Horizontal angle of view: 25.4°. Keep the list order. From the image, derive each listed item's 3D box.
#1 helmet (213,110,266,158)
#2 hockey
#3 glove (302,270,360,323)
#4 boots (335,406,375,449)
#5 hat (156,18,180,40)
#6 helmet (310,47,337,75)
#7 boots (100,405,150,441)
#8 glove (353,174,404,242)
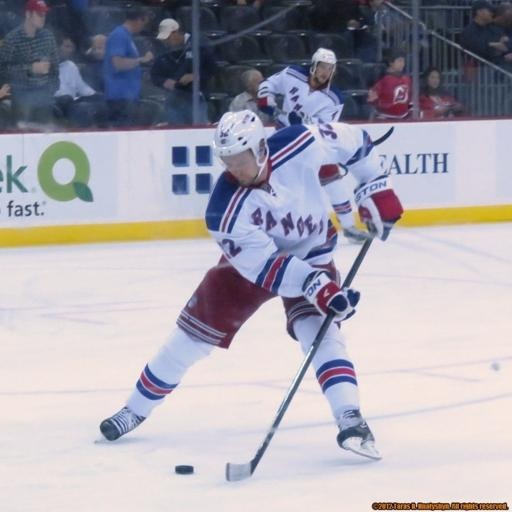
[{"bbox_3d":[-0.060,-0.441,4.139,0.176,0.158,0.141,2,6,-2],"label":"helmet"},{"bbox_3d":[0.158,0.417,4.443,0.127,1.048,0.116,30,8,-37],"label":"hockey"},{"bbox_3d":[0.269,0.137,4.186,0.168,0.216,0.099,-44,5,-6],"label":"glove"},{"bbox_3d":[0.362,0.642,4.249,0.133,0.154,0.275,-9,-21,15],"label":"boots"},{"bbox_3d":[-0.583,-1.511,7.535,0.153,0.143,0.054,2,6,-5],"label":"hat"},{"bbox_3d":[0.418,-1.227,7.117,0.144,0.163,0.229,2,6,-1],"label":"helmet"},{"bbox_3d":[-0.534,0.657,4.474,0.118,0.075,0.213,4,12,19],"label":"boots"},{"bbox_3d":[0.494,-0.199,4.620,0.210,0.261,0.112,-36,36,-8],"label":"glove"}]
